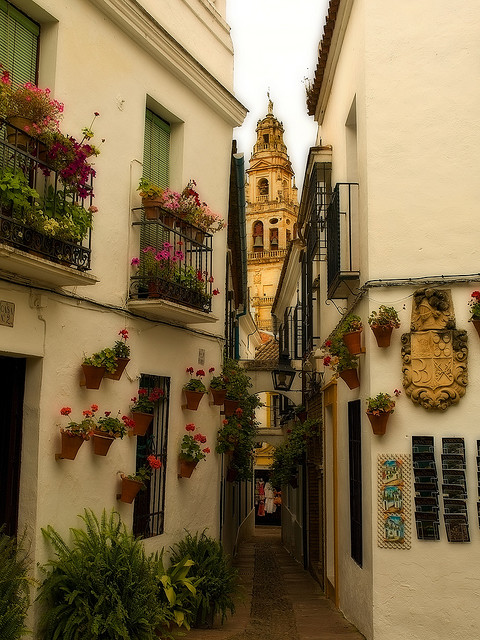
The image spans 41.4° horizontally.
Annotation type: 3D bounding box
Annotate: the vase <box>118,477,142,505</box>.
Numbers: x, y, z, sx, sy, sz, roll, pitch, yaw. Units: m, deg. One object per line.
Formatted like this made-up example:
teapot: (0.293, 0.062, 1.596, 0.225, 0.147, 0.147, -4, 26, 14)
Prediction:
vase: (-1.042, 1.629, 6.027, 0.200, 0.280, 0.248, 6, -8, -36)

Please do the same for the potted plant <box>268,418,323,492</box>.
potted plant: (1.183, 2.354, 11.439, 1.139, 1.015, 1.365, -8, -2, -23)

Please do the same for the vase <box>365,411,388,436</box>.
vase: (1.159, 0.879, 5.445, 0.171, 0.228, 0.200, -1, -5, 5)
